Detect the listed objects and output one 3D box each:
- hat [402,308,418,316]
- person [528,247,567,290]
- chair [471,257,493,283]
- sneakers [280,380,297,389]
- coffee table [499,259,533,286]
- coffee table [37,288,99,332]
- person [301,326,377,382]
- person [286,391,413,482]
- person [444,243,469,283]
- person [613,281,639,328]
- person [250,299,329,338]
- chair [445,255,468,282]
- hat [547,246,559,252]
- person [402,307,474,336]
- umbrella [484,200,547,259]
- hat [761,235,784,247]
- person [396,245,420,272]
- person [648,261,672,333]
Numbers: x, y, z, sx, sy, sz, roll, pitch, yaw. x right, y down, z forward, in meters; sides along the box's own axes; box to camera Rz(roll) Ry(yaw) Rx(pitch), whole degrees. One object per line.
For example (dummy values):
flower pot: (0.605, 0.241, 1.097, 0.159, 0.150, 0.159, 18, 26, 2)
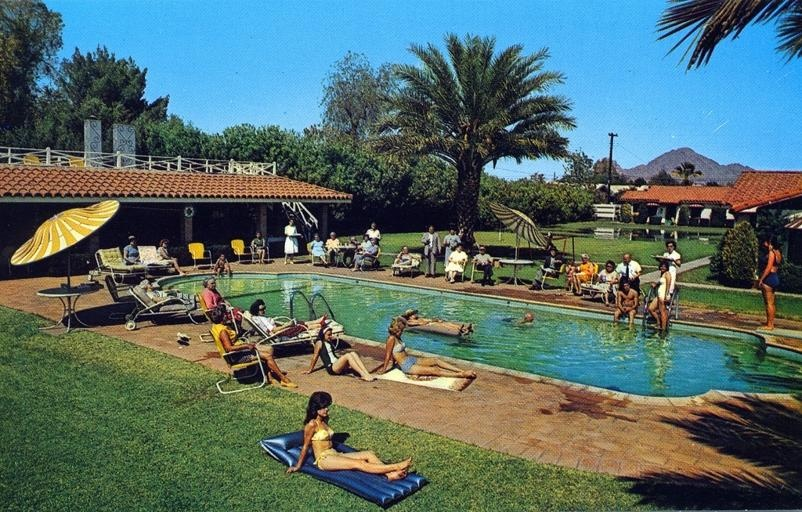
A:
hat: (0.261, 1.649, 15.506, 0.394, 0.185, 0.317, -1, 0, 0)
person: (5.911, 0.444, 21.801, 1.249, 1.742, 0.921, 6, 12, 2)
chair: (3.443, 0.564, 23.051, 0.705, 1.524, 0.848, 0, -34, 3)
sneakers: (-2.446, 2.775, 11.758, 0.342, 0.107, 0.136, 4, 7, 16)
coffee table: (4.891, 0.548, 23.295, 1.363, 1.007, 1.398, 0, 0, 20)
coffee table: (-9.451, 1.457, 15.435, 1.523, 0.973, 1.505, 0, 5, -4)
person: (-1.485, 2.224, 12.441, 1.671, 0.948, 0.710, 7, 11, 31)
person: (-0.840, 2.958, 8.997, 2.065, 1.256, 1.069, 1, 4, 27)
person: (2.334, 0.199, 23.144, 0.782, 1.236, 2.112, 8, 18, 13)
person: (7.109, 1.397, 17.166, 0.661, 1.347, 0.807, 6, 11, 26)
person: (-2.868, 1.655, 13.472, 1.534, 0.638, 1.051, -4, 7, -22)
chair: (2.366, 0.387, 23.168, 0.645, 0.715, 1.367, 1, 42, 19)
hat: (6.590, -0.332, 23.672, 0.596, 0.181, 0.604, -1, 5, -8)
person: (1.034, 1.994, 15.841, 1.846, 0.397, 0.921, 5, 6, 20)
umbrella: (5.056, -1.377, 22.937, 2.455, 1.698, 1.892, 4, 10, 14)
hat: (12.526, -0.526, 18.278, 0.639, 0.373, 0.743, -7, 1, -4)
person: (0.395, 0.184, 24.643, 0.859, 0.678, 1.200, 4, 7, 17)
person: (7.866, 1.187, 16.456, 0.564, 2.062, 0.546, 10, 13, 42)
